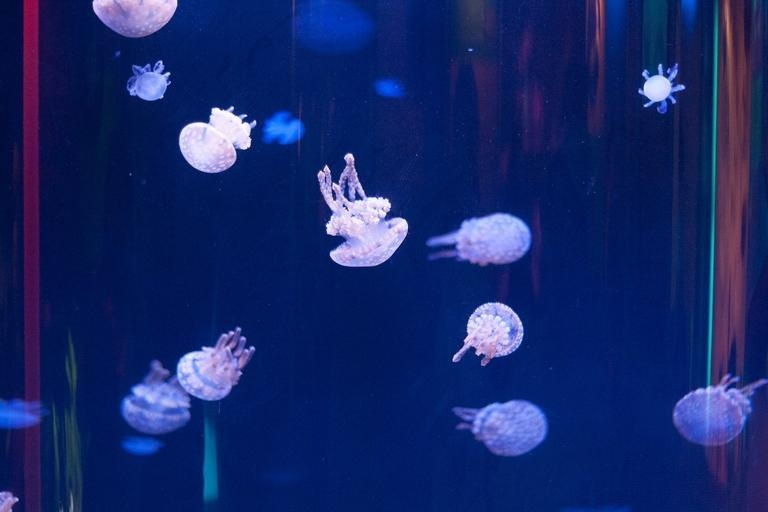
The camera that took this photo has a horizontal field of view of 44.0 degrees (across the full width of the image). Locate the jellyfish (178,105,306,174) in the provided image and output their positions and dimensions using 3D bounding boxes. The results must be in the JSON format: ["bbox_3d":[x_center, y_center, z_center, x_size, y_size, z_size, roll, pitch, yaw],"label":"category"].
[{"bbox_3d":[-0.754,-0.531,4.380,0.377,0.090,0.263,-30,-76,3],"label":"jellyfish"}]

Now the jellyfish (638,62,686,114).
[{"bbox_3d":[1.286,-0.777,4.423,0.210,0.046,0.209,-21,-76,0],"label":"jellyfish"}]

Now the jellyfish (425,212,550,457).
[{"bbox_3d":[0.475,0.333,4.454,0.374,0.359,1.363,-11,-77,-37],"label":"jellyfish"}]

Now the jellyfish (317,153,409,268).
[{"bbox_3d":[-0.125,-0.213,4.483,0.370,0.365,0.556,-27,-86,-30],"label":"jellyfish"}]

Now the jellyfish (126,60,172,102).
[{"bbox_3d":[-1.079,-0.798,4.383,0.198,0.035,0.164,-10,-76,-3],"label":"jellyfish"}]
